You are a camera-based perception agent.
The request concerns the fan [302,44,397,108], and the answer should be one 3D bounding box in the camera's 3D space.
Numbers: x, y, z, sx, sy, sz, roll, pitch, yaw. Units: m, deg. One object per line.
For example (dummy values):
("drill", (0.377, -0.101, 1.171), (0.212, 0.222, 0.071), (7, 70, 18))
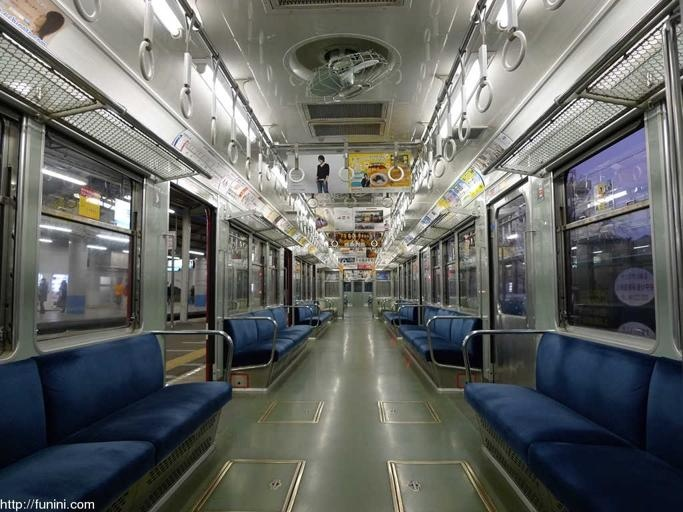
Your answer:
("fan", (0.096, -1.694, 3.857), (0.877, 0.361, 0.524), (1, 0, -27))
